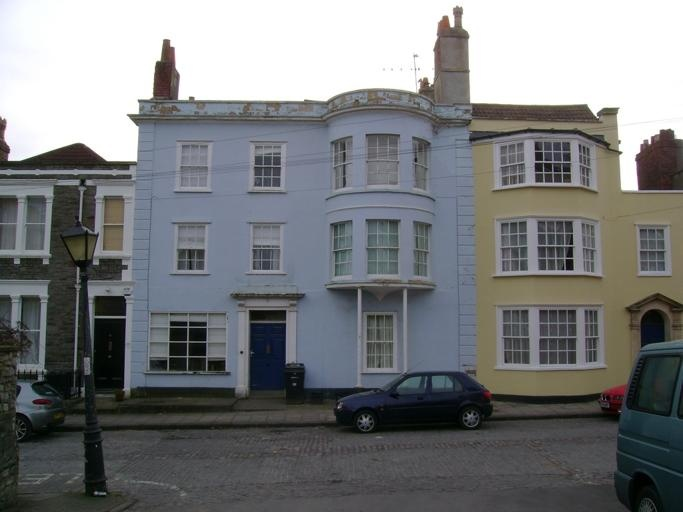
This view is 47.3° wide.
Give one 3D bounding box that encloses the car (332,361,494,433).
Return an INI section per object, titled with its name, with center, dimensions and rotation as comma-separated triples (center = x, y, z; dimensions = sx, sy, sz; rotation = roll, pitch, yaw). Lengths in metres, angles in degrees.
[car]
center = 2.292, 4.530, 25.038
dimensions = 4.491, 1.694, 2.054
rotation = 2, -9, -1

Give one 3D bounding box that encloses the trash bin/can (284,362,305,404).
[trash bin/can]
center = -1.757, 4.717, 28.990
dimensions = 0.685, 1.311, 0.789
rotation = -1, 4, -5
